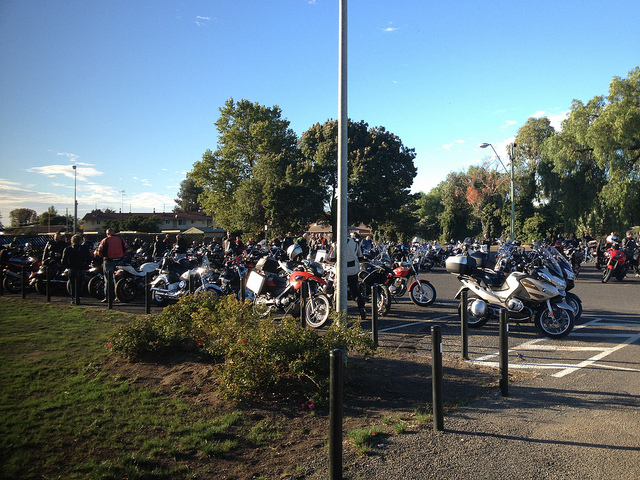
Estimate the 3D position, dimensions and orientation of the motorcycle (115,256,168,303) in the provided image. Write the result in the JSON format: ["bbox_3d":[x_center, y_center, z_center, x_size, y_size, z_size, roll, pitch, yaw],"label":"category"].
[{"bbox_3d":[-5.486,1.171,16.665,0.816,1.455,2.247,-5,-2,36],"label":"motorcycle"}]

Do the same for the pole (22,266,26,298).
[{"bbox_3d":[-9.826,1.388,17.442,0.119,1.036,0.567,2,-3,-30],"label":"pole"}]

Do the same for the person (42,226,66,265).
[{"bbox_3d":[-9.198,0.284,18.185,0.711,1.145,1.498,2,-4,-28],"label":"person"}]

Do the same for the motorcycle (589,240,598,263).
[{"bbox_3d":[14.396,0.559,27.718,0.475,1.060,0.660,10,-14,16],"label":"motorcycle"}]

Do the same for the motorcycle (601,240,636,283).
[{"bbox_3d":[11.493,0.789,20.286,0.793,1.709,2.445,-2,-4,36],"label":"motorcycle"}]

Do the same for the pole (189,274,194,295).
[{"bbox_3d":[-3.416,1.198,13.966,0.101,0.435,0.441,5,-4,-12],"label":"pole"}]

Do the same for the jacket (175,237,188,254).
[{"bbox_3d":[-4.862,0.189,18.494,0.458,0.633,1.056,1,-1,-13],"label":"jacket"}]

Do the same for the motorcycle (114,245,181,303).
[{"bbox_3d":[-5.123,1.083,16.284,2.265,1.607,1.286,-5,-11,-5],"label":"motorcycle"}]

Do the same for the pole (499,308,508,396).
[{"bbox_3d":[2.789,1.719,7.990,0.112,1.294,0.317,0,-3,16],"label":"pole"}]

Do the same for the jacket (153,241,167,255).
[{"bbox_3d":[-6.767,0.334,22.184,0.487,0.608,0.539,-2,6,7],"label":"jacket"}]

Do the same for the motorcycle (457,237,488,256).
[{"bbox_3d":[7.174,0.294,24.815,1.632,1.157,1.120,1,7,21],"label":"motorcycle"}]

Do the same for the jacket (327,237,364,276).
[{"bbox_3d":[0.640,0.397,12.857,0.599,1.049,1.159,-16,-10,39],"label":"jacket"}]

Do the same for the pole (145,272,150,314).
[{"bbox_3d":[-4.548,1.409,13.861,0.091,1.067,0.252,1,-3,-14],"label":"pole"}]

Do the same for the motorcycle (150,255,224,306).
[{"bbox_3d":[-3.689,1.136,14.653,2.316,1.454,1.267,-2,-8,23],"label":"motorcycle"}]

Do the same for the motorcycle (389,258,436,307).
[{"bbox_3d":[2.458,1.232,14.964,1.601,1.183,0.867,5,1,32],"label":"motorcycle"}]

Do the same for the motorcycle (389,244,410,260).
[{"bbox_3d":[3.648,0.491,23.755,1.270,0.751,0.600,-10,11,-44],"label":"motorcycle"}]

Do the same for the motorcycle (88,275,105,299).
[{"bbox_3d":[-7.052,1.483,16.608,0.696,0.754,0.244,-2,-4,37],"label":"motorcycle"}]

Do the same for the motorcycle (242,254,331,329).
[{"bbox_3d":[-0.686,1.196,12.616,2.461,1.634,1.101,0,-15,38],"label":"motorcycle"}]

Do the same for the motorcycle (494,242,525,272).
[{"bbox_3d":[5.435,0.508,15.079,0.541,0.639,1.071,21,-3,41],"label":"motorcycle"}]

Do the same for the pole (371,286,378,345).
[{"bbox_3d":[1.064,1.452,10.294,0.094,1.091,0.225,1,-3,-2],"label":"pole"}]

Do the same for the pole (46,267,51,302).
[{"bbox_3d":[-8.413,1.384,16.293,0.099,1.059,0.378,2,-3,-28],"label":"pole"}]

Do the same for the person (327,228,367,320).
[{"bbox_3d":[0.868,0.895,12.850,0.453,2.083,0.867,-1,-3,33],"label":"person"}]

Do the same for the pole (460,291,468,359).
[{"bbox_3d":[2.584,1.542,9.414,0.093,1.209,0.617,0,-3,14],"label":"pole"}]

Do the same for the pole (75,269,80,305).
[{"bbox_3d":[-7.192,1.398,15.559,0.143,1.019,0.405,2,-3,-26],"label":"pole"}]

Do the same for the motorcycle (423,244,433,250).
[{"bbox_3d":[5.990,0.384,29.169,0.339,0.456,0.762,-4,-3,-14],"label":"motorcycle"}]

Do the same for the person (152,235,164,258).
[{"bbox_3d":[-6.761,0.250,22.039,0.397,0.875,1.566,1,-4,-16],"label":"person"}]

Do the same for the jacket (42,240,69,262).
[{"bbox_3d":[-8.995,0.390,17.915,0.735,0.707,0.252,3,-4,-18],"label":"jacket"}]

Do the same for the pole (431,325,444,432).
[{"bbox_3d":[1.647,1.893,7.348,0.157,1.397,0.585,0,-3,13],"label":"pole"}]

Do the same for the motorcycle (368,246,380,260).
[{"bbox_3d":[1.842,0.448,18.315,0.124,0.473,0.489,17,-21,26],"label":"motorcycle"}]

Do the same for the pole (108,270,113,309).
[{"bbox_3d":[-5.965,1.424,14.938,0.136,1.038,0.687,2,-3,-23],"label":"pole"}]
